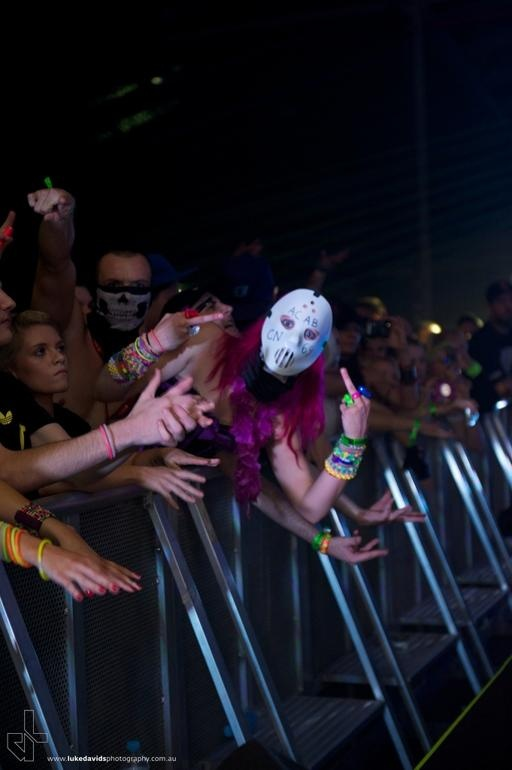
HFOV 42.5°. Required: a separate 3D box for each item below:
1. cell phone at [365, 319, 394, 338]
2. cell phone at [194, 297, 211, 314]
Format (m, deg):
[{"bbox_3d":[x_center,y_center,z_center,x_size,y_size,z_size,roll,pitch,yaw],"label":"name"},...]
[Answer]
[{"bbox_3d":[0.580,-0.268,3.114,0.147,0.094,0.081,1,8,7],"label":"cell phone"},{"bbox_3d":[-0.166,-0.254,2.077,0.034,0.026,0.115,-25,15,10],"label":"cell phone"}]
